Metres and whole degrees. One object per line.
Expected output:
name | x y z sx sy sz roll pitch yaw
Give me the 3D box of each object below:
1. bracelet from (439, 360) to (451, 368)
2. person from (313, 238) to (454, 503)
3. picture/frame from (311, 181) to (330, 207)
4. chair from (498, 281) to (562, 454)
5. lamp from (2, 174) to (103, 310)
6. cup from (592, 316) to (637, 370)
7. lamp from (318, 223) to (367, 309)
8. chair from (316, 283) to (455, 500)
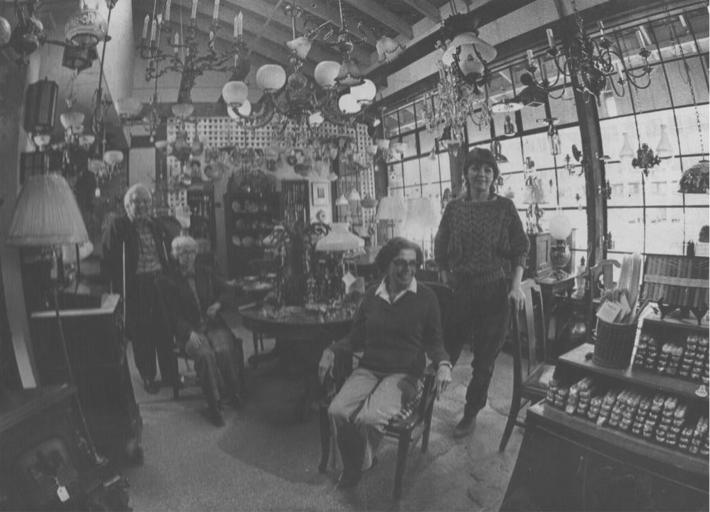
bracelet | 0.418 0.495 2.465 0.053 0.035 0.022 -1 5 -19
person | 0.168 0.509 2.521 0.581 1.144 0.530 9 13 32
picture/frame | -0.166 -0.295 2.503 0.101 0.136 0.013 -1 3 -17
chair | 0.904 0.543 2.527 0.339 0.675 0.338 -5 10 -14
lamp | -1.298 -0.138 2.414 0.363 0.520 0.279 -3 1 -44
cup | 1.050 0.346 2.156 0.154 0.207 0.176 2 -2 1
lamp | -0.016 0.016 2.710 0.289 0.432 0.298 -2 7 2
chair | 0.150 0.506 2.501 0.530 1.079 0.578 13 15 35
